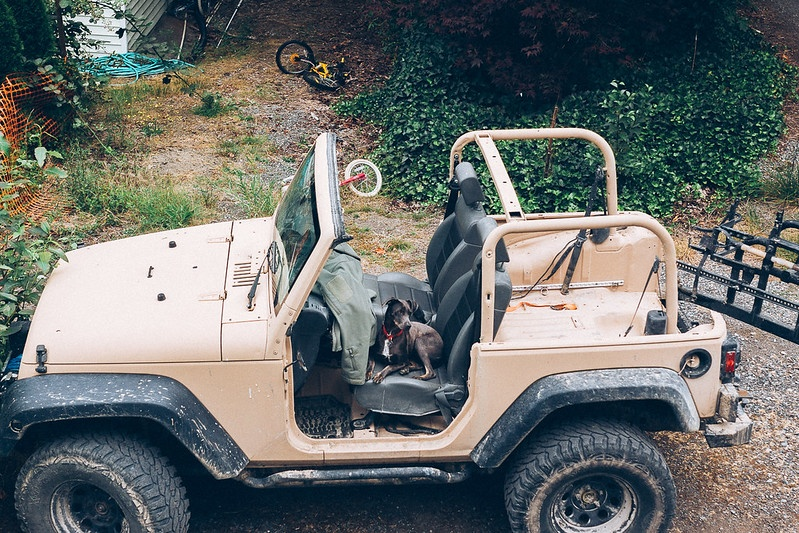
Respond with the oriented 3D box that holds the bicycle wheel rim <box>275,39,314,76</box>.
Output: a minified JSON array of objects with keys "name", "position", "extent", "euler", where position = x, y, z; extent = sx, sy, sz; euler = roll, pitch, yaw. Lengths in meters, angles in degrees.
[{"name":"bicycle wheel rim","position":[-2.105,-4.194,16.676],"extent":[0.779,0.192,0.856],"euler":[-21,78,-8]}]

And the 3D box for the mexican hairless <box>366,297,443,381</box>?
[{"name":"mexican hairless","position":[0.065,0.733,8.531],"extent":[0.667,1.252,0.781],"euler":[10,94,17]}]

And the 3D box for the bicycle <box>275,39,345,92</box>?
[{"name":"bicycle","position":[-1.786,-3.990,16.667],"extent":[1.455,0.599,0.764],"euler":[34,91,11]}]
